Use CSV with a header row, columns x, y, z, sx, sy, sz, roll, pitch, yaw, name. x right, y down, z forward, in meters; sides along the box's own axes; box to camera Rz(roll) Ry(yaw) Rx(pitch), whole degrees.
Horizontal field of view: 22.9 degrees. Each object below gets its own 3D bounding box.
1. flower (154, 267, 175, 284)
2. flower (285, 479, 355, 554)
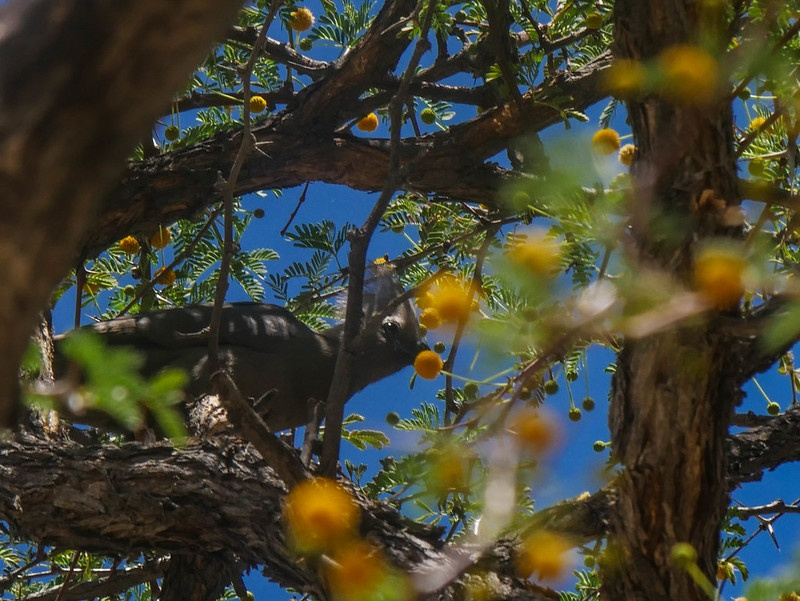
x,y,z,sx,sy,sz,roll,pitch,yaw,name
-1.032,-0.098,8.671,0.062,0.073,0.034,-1,-78,44,flower
-0.302,0.777,7.320,0.263,0.235,0.222,-14,-51,14,flower
